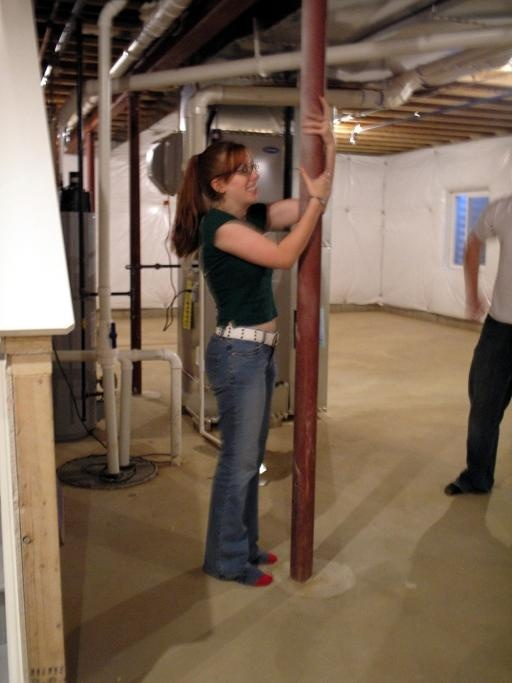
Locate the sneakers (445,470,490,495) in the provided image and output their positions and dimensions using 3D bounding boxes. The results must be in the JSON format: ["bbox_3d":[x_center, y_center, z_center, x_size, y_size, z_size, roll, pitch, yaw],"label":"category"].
[{"bbox_3d":[1.204,0.779,3.295,0.315,0.113,0.096,3,-10,-3],"label":"sneakers"}]

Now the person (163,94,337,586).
[{"bbox_3d":[0.000,0.054,2.200,0.443,1.771,0.566,-6,11,-32],"label":"person"}]

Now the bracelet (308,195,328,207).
[{"bbox_3d":[0.218,-0.462,1.997,0.058,0.031,0.043,19,11,34],"label":"bracelet"}]
